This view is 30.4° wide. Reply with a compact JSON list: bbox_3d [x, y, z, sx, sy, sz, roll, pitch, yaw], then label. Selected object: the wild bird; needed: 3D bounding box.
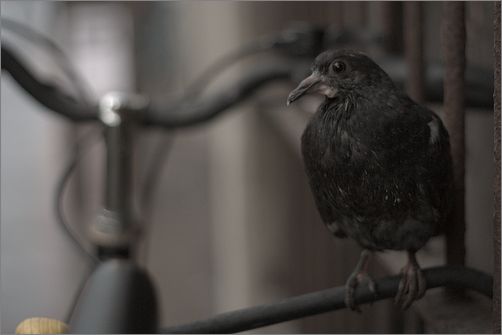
[{"bbox_3d":[0.247,-0.032,1.818,0.292,0.247,0.361,-18,-49,6],"label":"wild bird"}]
